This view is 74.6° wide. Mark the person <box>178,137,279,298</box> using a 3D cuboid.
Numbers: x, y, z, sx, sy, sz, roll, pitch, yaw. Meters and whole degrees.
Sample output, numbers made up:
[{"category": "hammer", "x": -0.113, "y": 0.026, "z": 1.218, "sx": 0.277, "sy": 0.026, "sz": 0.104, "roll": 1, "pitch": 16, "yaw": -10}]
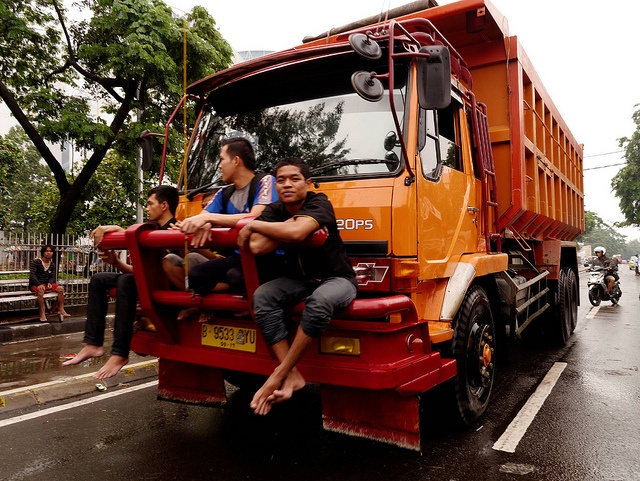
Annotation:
[{"category": "person", "x": -0.779, "y": -0.215, "z": 3.665, "sx": 1.021, "sy": 1.393, "sz": 0.788, "roll": -5, "pitch": -4, "yaw": -41}]

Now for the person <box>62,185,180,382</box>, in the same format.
[{"category": "person", "x": -1.807, "y": 0.335, "z": 3.843, "sx": 0.902, "sy": 1.796, "sz": 0.603, "roll": 1, "pitch": -3, "yaw": -34}]

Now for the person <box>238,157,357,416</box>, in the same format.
[{"category": "person", "x": -0.174, "y": 0.290, "z": 3.187, "sx": 0.860, "sy": 1.880, "sz": 0.421, "roll": 0, "pitch": -2, "yaw": 3}]

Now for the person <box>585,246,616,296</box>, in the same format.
[{"category": "person", "x": 10.077, "y": 0.913, "z": 14.812, "sx": 0.797, "sy": 0.932, "sz": 1.351, "roll": 13, "pitch": 10, "yaw": 7}]

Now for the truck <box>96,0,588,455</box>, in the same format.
[{"category": "truck", "x": 1.236, "y": -0.206, "z": 5.947, "sx": 3.195, "sy": 3.514, "sz": 6.731, "roll": -5, "pitch": -6, "yaw": 31}]

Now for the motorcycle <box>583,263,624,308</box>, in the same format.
[{"category": "motorcycle", "x": 9.789, "y": 1.682, "z": 14.304, "sx": 1.490, "sy": 0.905, "sz": 0.523, "roll": 19, "pitch": -21, "yaw": -19}]
